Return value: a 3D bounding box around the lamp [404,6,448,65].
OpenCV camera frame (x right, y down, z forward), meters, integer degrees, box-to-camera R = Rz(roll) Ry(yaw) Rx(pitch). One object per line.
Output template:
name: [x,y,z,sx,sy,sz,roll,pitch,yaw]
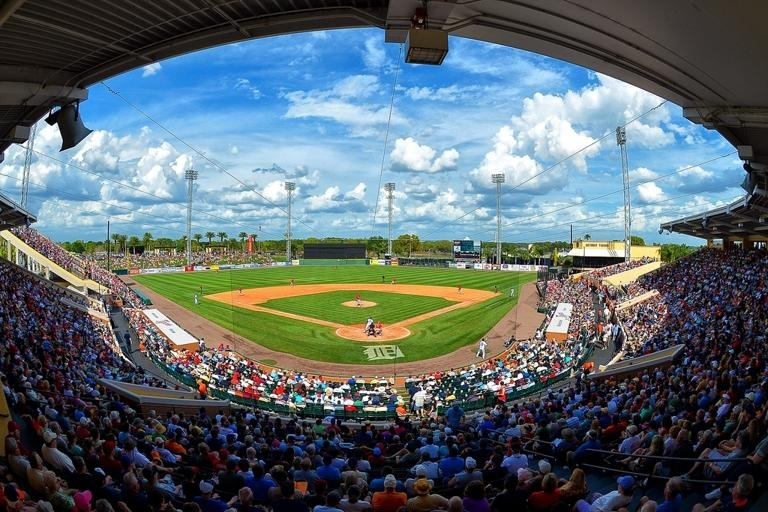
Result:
lamp: [0.929,-4.951,11.615,0.889,1.285,0.789,0,3,0]
